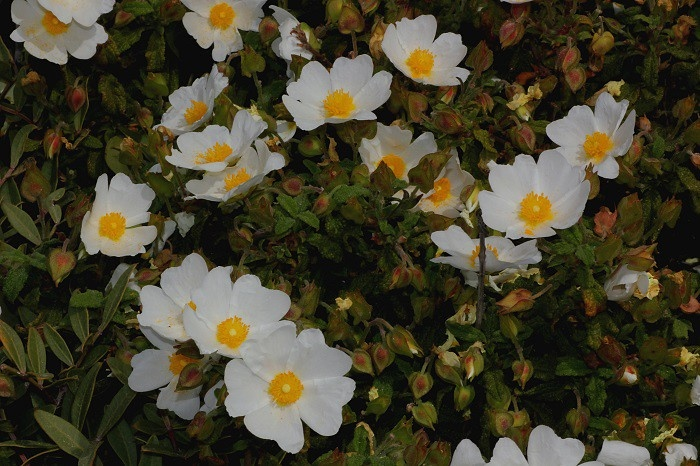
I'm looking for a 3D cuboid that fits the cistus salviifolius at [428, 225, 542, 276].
[{"bbox_3d":[0.339,0.058,1.635,0.296,0.206,0.104,11,79,-1],"label":"cistus salviifolius"}]

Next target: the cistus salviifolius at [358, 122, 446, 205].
[{"bbox_3d":[0.124,-0.221,1.737,0.202,0.067,0.160,25,80,1],"label":"cistus salviifolius"}]

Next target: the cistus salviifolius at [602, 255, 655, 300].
[{"bbox_3d":[0.717,0.130,1.672,0.124,0.066,0.085,-39,81,27],"label":"cistus salviifolius"}]

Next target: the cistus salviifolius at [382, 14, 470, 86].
[{"bbox_3d":[0.210,-0.508,1.792,0.250,0.075,0.198,14,80,-1],"label":"cistus salviifolius"}]

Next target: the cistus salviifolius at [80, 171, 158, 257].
[{"bbox_3d":[-0.613,-0.026,1.767,0.184,0.147,0.231,21,80,1],"label":"cistus salviifolius"}]

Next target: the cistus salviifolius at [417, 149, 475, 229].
[{"bbox_3d":[0.266,-0.112,1.759,0.144,0.077,0.205,-24,80,6],"label":"cistus salviifolius"}]

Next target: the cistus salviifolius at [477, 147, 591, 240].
[{"bbox_3d":[0.452,-0.098,1.598,0.261,0.118,0.218,-7,81,-5],"label":"cistus salviifolius"}]

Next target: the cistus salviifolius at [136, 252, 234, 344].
[{"bbox_3d":[-0.403,0.191,1.613,0.080,0.184,0.215,29,91,-32],"label":"cistus salviifolius"}]

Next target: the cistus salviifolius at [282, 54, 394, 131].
[{"bbox_3d":[-0.038,-0.383,1.693,0.284,0.054,0.156,-7,81,-5],"label":"cistus salviifolius"}]
